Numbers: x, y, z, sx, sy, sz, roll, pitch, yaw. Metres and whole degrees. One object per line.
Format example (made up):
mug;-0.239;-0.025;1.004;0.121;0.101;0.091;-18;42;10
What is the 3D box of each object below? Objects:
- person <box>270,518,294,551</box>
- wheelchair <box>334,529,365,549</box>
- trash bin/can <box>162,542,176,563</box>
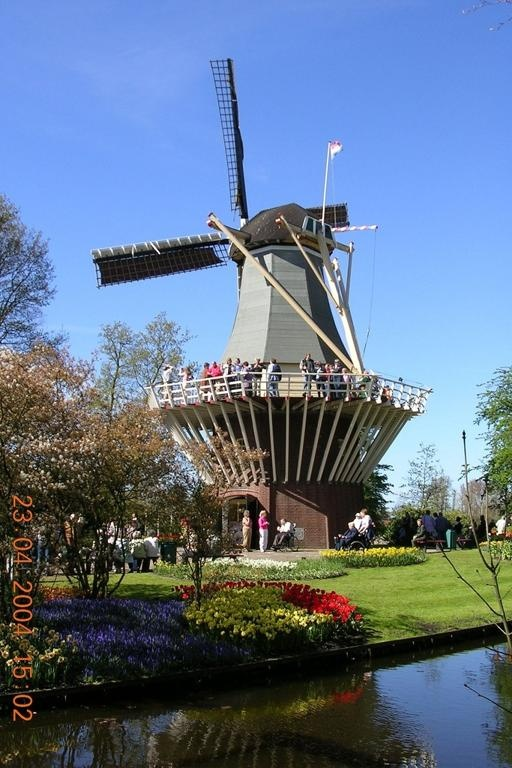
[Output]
person;0.861;4.635;22.699;0.620;0.948;1.237;-2;-10;1
wheelchair;2.658;4.342;20.573;0.856;0.506;0.540;6;-12;-38
trash bin/can;-2.238;4.366;19.160;0.373;0.479;0.638;0;-10;-7
